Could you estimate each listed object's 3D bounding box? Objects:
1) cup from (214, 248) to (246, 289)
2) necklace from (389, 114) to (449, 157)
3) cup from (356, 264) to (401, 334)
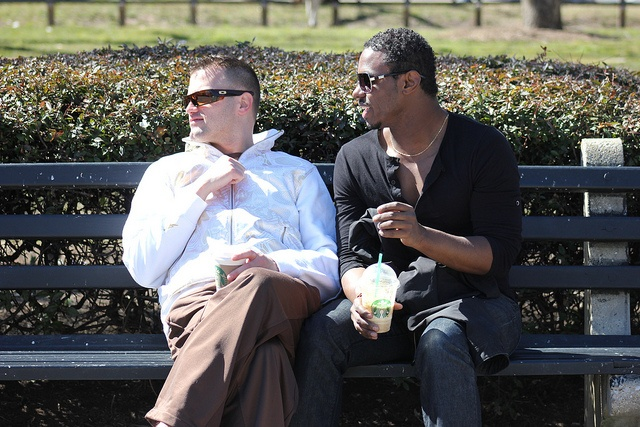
[{"bbox_3d":[-0.625,0.425,6.169,0.270,0.263,0.265,-1,-9,0],"label":"cup"},{"bbox_3d":[0.748,-0.560,6.293,0.351,0.339,0.086,6,-17,28],"label":"necklace"},{"bbox_3d":[0.422,0.568,6.038,0.264,0.504,0.208,-1,10,2],"label":"cup"}]
